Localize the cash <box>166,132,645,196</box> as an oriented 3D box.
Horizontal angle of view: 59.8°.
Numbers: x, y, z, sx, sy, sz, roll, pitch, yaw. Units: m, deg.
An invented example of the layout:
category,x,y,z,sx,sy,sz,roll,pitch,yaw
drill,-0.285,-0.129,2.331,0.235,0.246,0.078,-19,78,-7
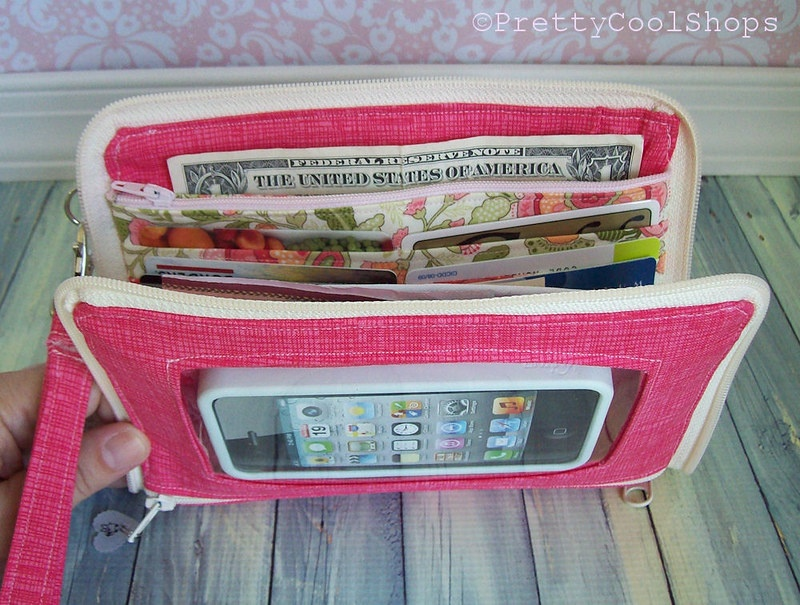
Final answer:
category,x,y,z,sx,sy,sz,roll,pitch,yaw
cash,0.010,-0.188,0.928,0.689,0.032,0.072,-2,87,-1
